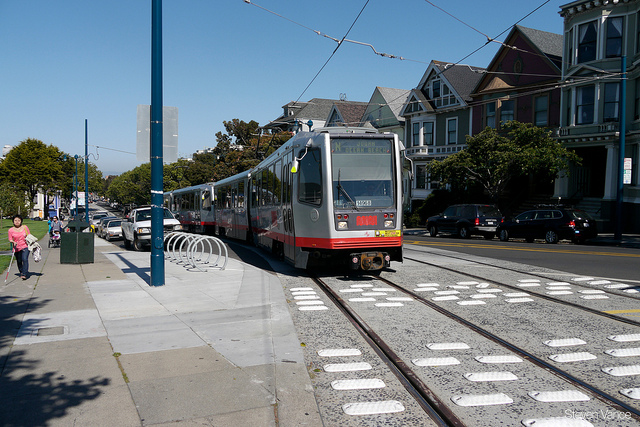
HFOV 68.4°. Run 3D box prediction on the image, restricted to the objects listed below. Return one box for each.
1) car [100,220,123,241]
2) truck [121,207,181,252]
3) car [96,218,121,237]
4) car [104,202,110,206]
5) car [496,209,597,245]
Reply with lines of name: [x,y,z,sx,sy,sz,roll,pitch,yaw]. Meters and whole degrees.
car: [-15.735,1.178,35.527,1.897,1.290,3.810,0,-4,-29]
truck: [-8.474,0.727,23.371,2.326,1.788,4.519,-2,-2,-30]
car: [-18.064,1.134,40.188,1.763,1.434,2.885,1,-3,-32]
car: [-88.380,-4.085,195.190,2.353,1.213,3.388,-1,-1,-13]
car: [11.710,0.577,24.278,1.772,1.351,3.924,2,0,-28]
